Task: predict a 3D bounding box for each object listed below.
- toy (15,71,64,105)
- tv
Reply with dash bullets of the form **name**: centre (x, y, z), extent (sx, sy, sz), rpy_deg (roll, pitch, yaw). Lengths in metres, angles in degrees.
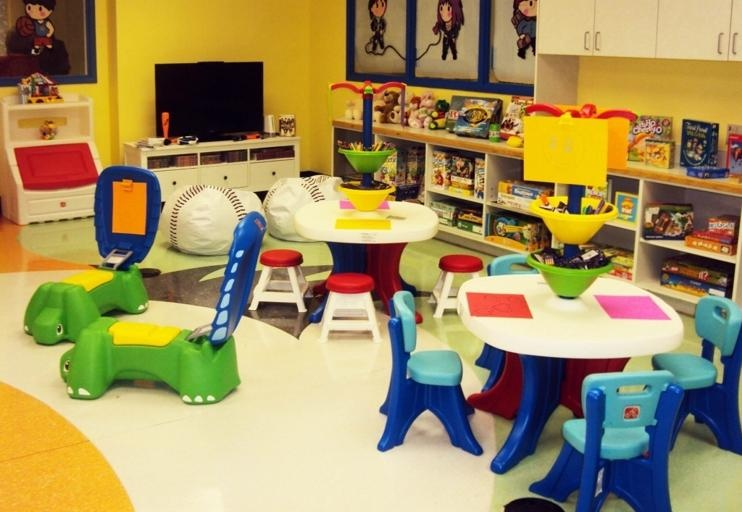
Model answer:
- **toy**: centre (-3.645, -1.821, 6.343), extent (0.390, 0.240, 0.399), rpy_deg (12, 17, 40)
- **tv**: centre (-2.084, -1.963, 7.248), extent (1.168, 0.805, 0.126), rpy_deg (-6, 14, -31)
